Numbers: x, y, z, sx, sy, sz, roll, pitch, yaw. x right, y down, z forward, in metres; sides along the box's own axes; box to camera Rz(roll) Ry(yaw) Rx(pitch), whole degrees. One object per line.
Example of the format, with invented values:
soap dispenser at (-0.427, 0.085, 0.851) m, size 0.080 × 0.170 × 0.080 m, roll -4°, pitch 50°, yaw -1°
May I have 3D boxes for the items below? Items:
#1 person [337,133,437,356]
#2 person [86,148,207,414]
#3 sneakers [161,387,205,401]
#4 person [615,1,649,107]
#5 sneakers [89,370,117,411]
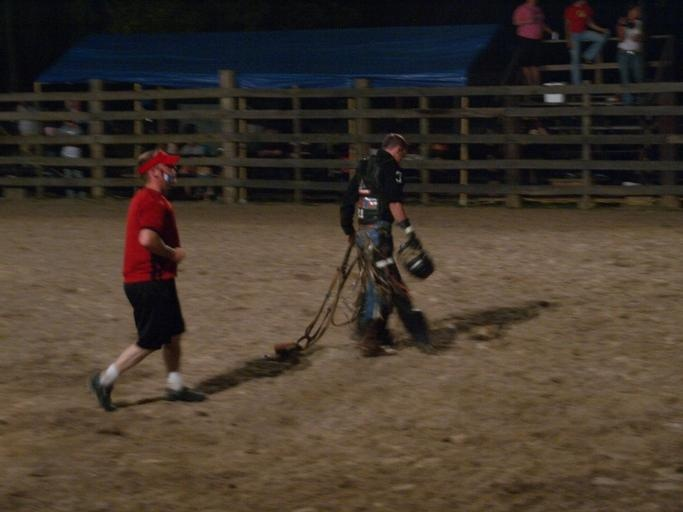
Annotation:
person at (0.493, -0.176, 9.696) m, size 1.064 × 2.392 × 0.484 m, roll 2°, pitch 9°, yaw 11°
person at (-1.855, 0.222, 8.140) m, size 0.877 × 2.459 × 0.606 m, roll 1°, pitch 8°, yaw 5°
sneakers at (-1.549, 1.358, 8.387) m, size 0.322 × 0.052 × 0.152 m, roll 0°, pitch 1°, yaw 1°
person at (5.606, -4.092, 16.588) m, size 0.467 × 1.494 × 0.489 m, roll 0°, pitch 8°, yaw -1°
sneakers at (-2.257, 1.281, 8.143) m, size 0.260 × 0.356 × 0.155 m, roll -19°, pitch 5°, yaw 13°
